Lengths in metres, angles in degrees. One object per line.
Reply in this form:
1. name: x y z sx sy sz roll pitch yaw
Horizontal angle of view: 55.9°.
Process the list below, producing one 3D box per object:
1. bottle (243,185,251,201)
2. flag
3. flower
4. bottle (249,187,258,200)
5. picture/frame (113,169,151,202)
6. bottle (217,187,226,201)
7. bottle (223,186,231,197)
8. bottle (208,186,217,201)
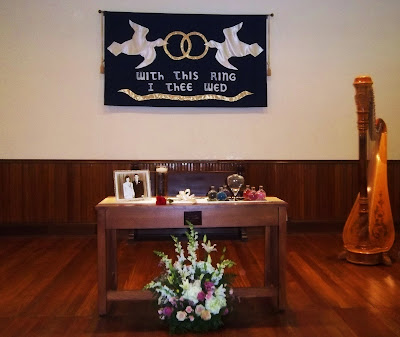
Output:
1. bottle: 0.429 0.224 3.386 0.099 0.163 0.108 0 1 0
2. flag: -0.200 -1.469 5.108 2.250 1.248 0.154 -1 9 -3
3. flower: -0.131 0.890 3.258 0.651 1.007 0.819 2 -8 -19
4. bottle: 0.484 0.220 3.343 0.084 0.133 0.088 -1 -7 0
5. picture/frame: -0.590 0.158 3.297 0.219 0.213 0.032 -3 -5 -15
6. bottle: 0.190 0.221 3.306 0.077 0.122 0.085 0 6 4
7. bottle: 0.235 0.210 3.400 0.084 0.128 0.085 -3 1 0
8. bottle: 0.115 0.229 3.360 0.093 0.143 0.096 4 -3 0
